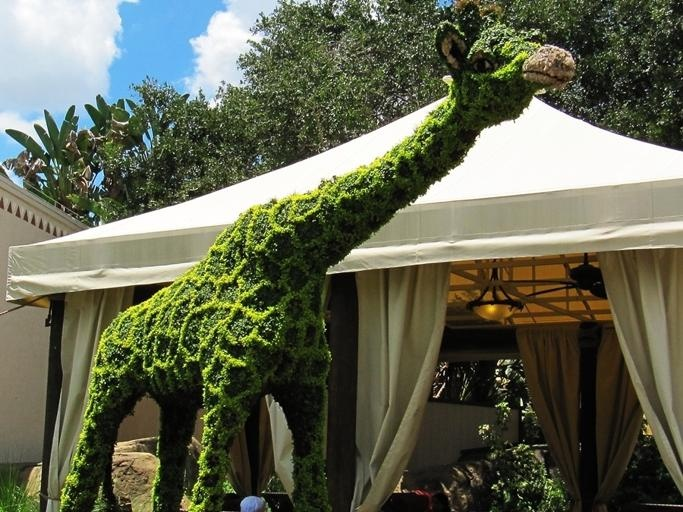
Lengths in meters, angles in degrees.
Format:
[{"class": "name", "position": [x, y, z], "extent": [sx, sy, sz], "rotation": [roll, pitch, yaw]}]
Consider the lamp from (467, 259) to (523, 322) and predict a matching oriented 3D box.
[{"class": "lamp", "position": [2.035, 0.436, 10.871], "extent": [0.703, 1.114, 0.766], "rotation": [-1, -25, 11]}]
